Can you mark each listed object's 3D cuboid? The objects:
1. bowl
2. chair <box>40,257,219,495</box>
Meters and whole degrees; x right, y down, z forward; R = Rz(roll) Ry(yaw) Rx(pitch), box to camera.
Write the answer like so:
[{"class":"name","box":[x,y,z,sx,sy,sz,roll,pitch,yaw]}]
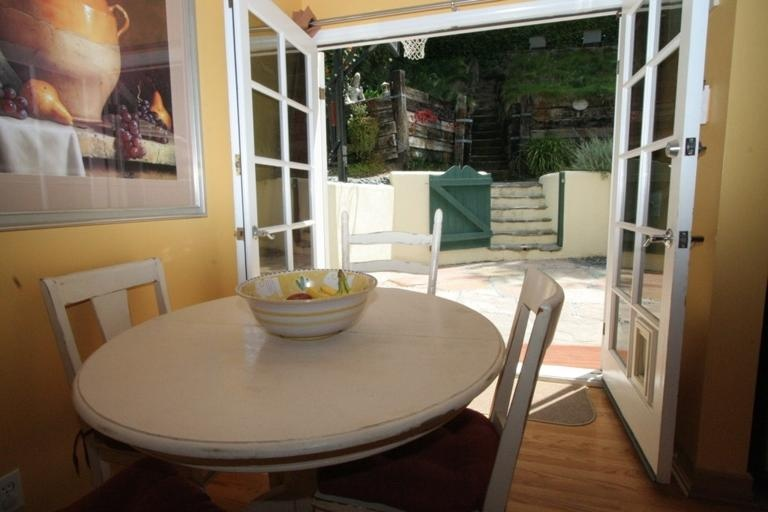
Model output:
[{"class":"bowl","box":[-0.258,0.128,1.942,0.440,0.250,0.450,1,5,0]},{"class":"chair","box":[-0.925,0.507,2.139,0.617,0.839,0.643,-11,27,-44]}]
